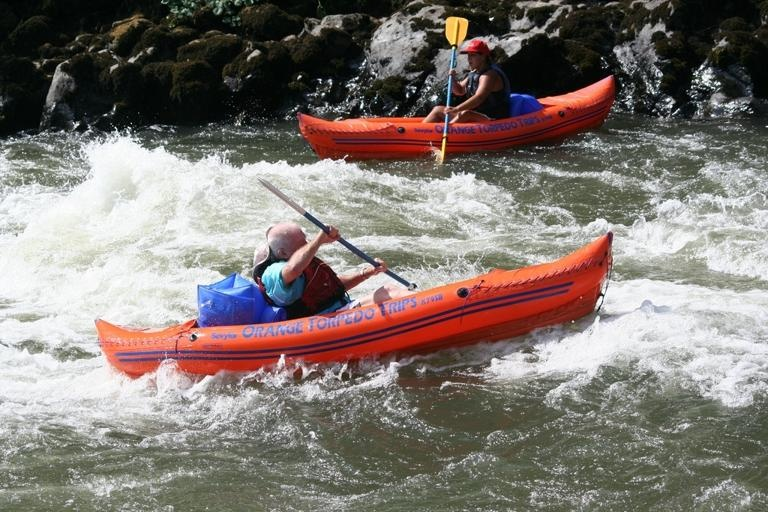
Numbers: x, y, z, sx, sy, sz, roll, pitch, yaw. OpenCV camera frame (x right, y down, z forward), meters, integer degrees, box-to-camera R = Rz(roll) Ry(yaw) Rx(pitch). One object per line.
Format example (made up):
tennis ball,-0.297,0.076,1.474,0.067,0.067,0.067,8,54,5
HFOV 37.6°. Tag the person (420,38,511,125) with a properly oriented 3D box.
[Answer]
person,1.506,-3.011,19.458,1.022,1.416,1.039,18,25,40

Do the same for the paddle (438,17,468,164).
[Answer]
paddle,1.166,-3.145,19.791,0.461,3.034,0.130,5,-20,12

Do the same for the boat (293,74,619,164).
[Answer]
boat,1.292,-2.315,19.832,5.964,1.185,1.835,-8,34,-1

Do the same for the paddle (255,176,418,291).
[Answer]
paddle,-0.696,-0.287,16.200,3.003,0.223,0.307,33,-4,-21
